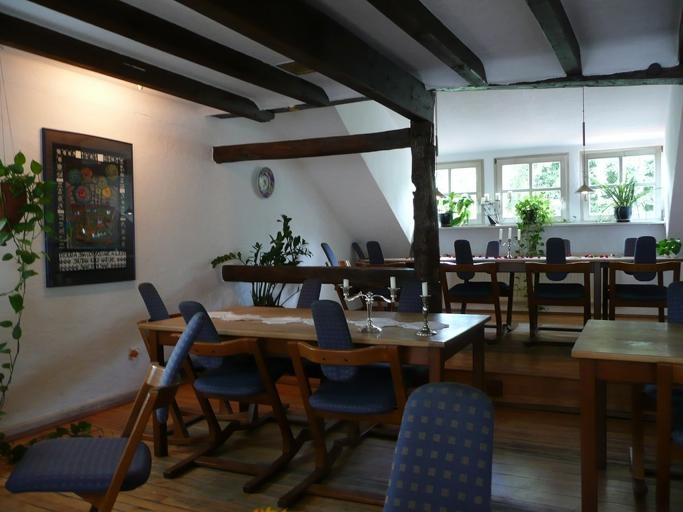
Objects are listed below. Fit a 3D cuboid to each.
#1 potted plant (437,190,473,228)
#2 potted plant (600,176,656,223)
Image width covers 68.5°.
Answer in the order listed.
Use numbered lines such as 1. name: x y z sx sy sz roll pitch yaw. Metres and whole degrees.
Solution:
1. potted plant: 2.061 -0.847 9.240 0.683 0.473 0.674 0 3 -32
2. potted plant: 4.648 -0.894 8.239 0.719 0.658 0.744 1 -4 29
